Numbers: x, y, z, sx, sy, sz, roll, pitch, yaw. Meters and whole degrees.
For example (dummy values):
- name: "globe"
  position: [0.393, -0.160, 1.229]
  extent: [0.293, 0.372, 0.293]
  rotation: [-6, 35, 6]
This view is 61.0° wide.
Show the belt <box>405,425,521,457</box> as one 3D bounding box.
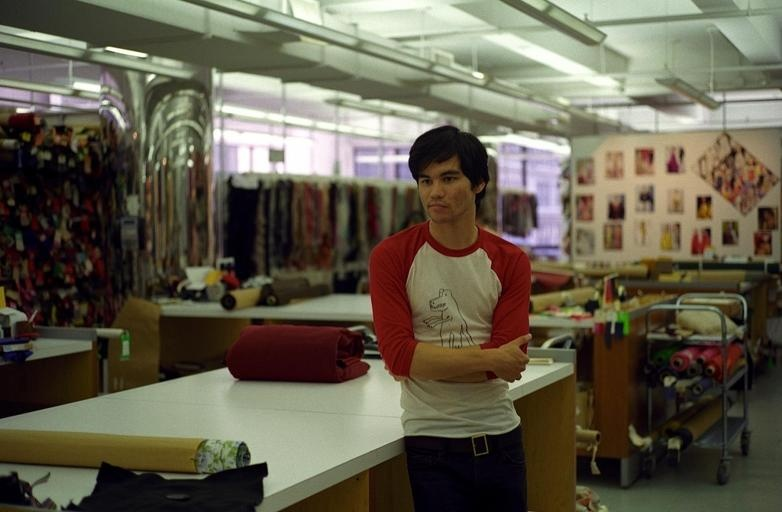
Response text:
- name: "belt"
  position: [0.321, 0.813, 2.880]
  extent: [0.517, 0.124, 0.107]
  rotation: [2, -1, -4]
